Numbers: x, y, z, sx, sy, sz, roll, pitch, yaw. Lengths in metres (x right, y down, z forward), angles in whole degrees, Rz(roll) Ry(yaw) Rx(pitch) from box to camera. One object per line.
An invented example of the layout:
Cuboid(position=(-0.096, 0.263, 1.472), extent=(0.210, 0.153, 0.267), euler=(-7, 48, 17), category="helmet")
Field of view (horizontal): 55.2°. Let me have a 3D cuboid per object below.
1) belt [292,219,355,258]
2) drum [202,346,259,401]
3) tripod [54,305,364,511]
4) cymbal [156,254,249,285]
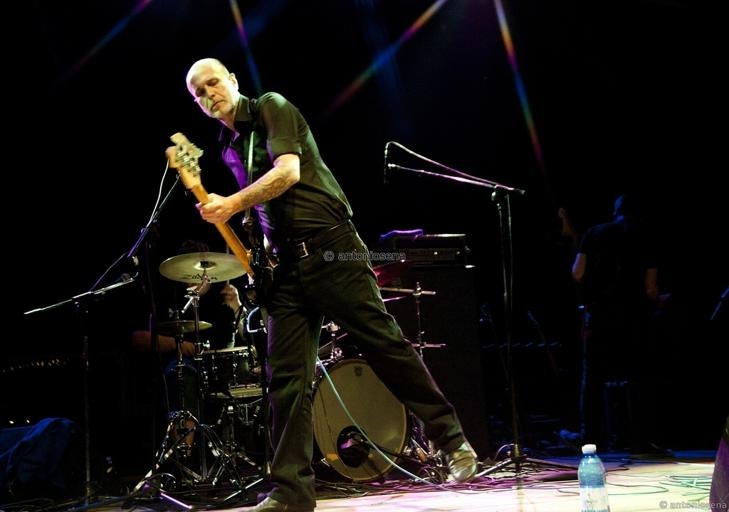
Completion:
Cuboid(position=(-0.311, -0.140, 5.249), extent=(0.353, 0.103, 0.267), euler=(-27, -1, -20), category="belt")
Cuboid(position=(-1.368, 1.199, 7.202), extent=(0.568, 0.409, 0.536), euler=(0, -5, 0), category="drum")
Cuboid(position=(-1.259, 1.606, 6.415), extent=(1.623, 0.659, 1.568), euler=(-9, -36, -17), category="tripod")
Cuboid(position=(-1.580, 0.086, 6.857), extent=(0.794, 0.124, 0.796), euler=(-5, -18, 18), category="cymbal")
